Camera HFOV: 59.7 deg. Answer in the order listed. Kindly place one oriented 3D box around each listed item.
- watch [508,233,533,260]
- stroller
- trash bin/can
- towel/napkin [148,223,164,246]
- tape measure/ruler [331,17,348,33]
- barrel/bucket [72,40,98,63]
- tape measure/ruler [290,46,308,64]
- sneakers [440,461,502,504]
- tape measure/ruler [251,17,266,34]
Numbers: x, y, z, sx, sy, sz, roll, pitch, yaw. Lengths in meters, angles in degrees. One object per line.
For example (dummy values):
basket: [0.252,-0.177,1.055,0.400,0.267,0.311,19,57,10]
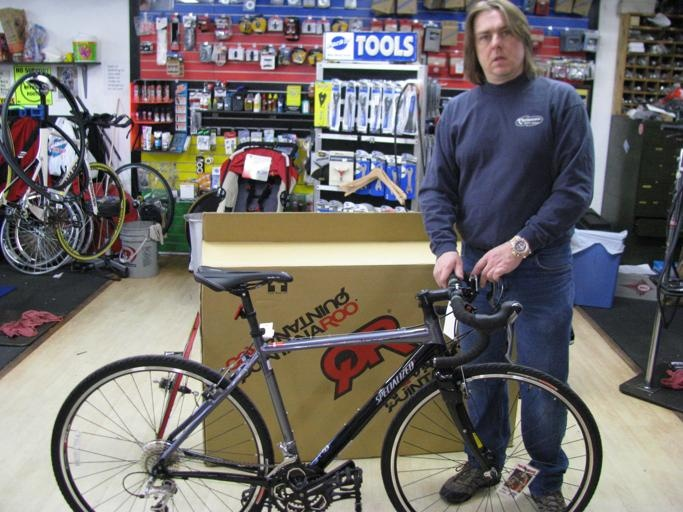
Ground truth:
watch: [0.788,-0.041,2.616,0.078,0.107,0.039,-11,4,6]
stroller: [-0.844,-0.784,5.997,0.805,0.668,0.591,-4,17,-13]
trash bin/can: [2.268,0.127,5.262,0.583,0.754,0.498,2,7,18]
towel/napkin: [-1.965,-0.226,6.286,0.085,0.271,0.190,1,14,22]
tape measure/ruler: [-0.031,-2.540,6.522,0.184,0.112,0.062,0,16,0]
barrel/bucket: [-2.891,-2.294,6.722,0.231,0.242,0.227,3,13,-1]
tape measure/ruler: [-0.472,-2.216,6.561,0.186,0.169,0.091,-2,16,-5]
sneakers: [0.667,1.166,3.018,0.316,0.161,0.130,-32,37,15]
tape measure/ruler: [-0.899,-2.546,6.536,0.164,0.177,0.084,-3,16,-10]
